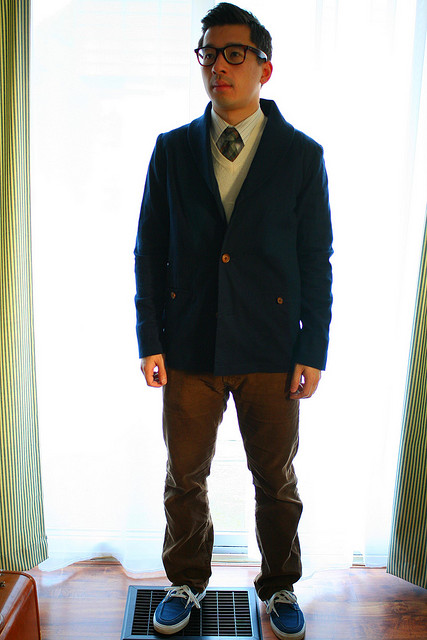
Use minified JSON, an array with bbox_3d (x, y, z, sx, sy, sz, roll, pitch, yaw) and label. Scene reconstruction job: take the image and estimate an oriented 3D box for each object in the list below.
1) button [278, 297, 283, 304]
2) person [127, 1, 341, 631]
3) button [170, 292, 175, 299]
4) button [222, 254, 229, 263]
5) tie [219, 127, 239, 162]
[{"bbox_3d":[0.171,-0.050,1.406,0.014,0.016,0.004,-4,13,-30],"label":"button"},{"bbox_3d":[0.041,0.047,1.473,0.529,1.632,0.258,3,11,-1],"label":"person"},{"bbox_3d":[-0.106,-0.065,1.450,0.002,0.018,0.014,-8,15,-42],"label":"button"},{"bbox_3d":[0.030,-0.153,1.358,0.018,0.018,0.005,4,3,-15],"label":"button"},{"bbox_3d":[0.040,-0.443,1.393,0.052,0.072,0.017,1,11,15],"label":"tie"}]
